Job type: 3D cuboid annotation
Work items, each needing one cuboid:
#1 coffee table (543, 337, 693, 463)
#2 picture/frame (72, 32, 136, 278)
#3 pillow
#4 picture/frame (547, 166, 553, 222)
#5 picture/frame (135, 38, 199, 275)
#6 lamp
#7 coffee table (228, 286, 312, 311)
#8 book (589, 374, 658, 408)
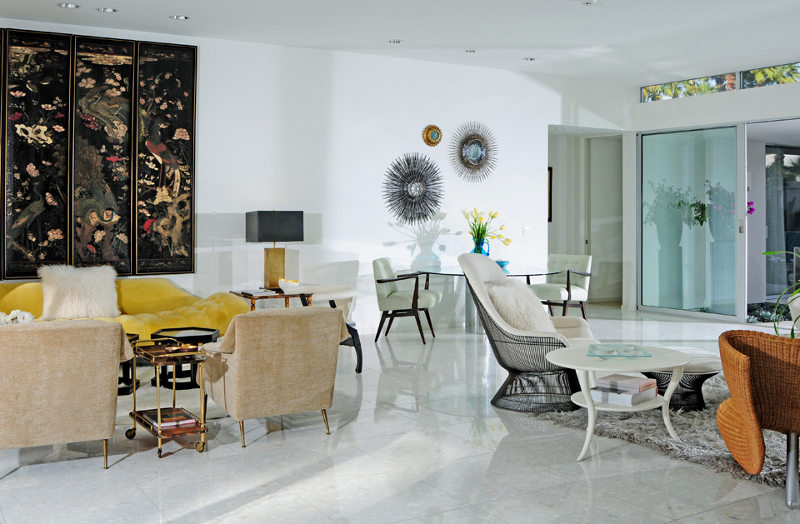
[{"bbox_3d":[1.501,0.954,4.223,0.944,0.525,0.855,0,0,-25],"label":"coffee table"},{"bbox_3d":[-3.402,-1.213,6.728,0.747,2.697,0.287,-3,8,-18],"label":"picture/frame"},{"bbox_3d":[-3.389,0.319,6.183,0.798,0.680,0.225,-2,-21,-29],"label":"pillow"},{"bbox_3d":[2.739,-1.250,10.671,0.164,0.985,0.063,-7,10,-42],"label":"picture/frame"},{"bbox_3d":[-2.784,-1.240,6.965,0.741,2.725,0.359,-2,8,-15],"label":"picture/frame"},{"bbox_3d":[-1.566,-0.159,7.196,0.561,0.957,0.651,-4,8,-29],"label":"lamp"},{"bbox_3d":[-1.555,0.384,7.094,0.541,0.337,0.498,-2,5,-23],"label":"coffee table"},{"bbox_3d":[1.560,0.913,4.183,0.281,0.089,0.280,0,3,40],"label":"book"}]
